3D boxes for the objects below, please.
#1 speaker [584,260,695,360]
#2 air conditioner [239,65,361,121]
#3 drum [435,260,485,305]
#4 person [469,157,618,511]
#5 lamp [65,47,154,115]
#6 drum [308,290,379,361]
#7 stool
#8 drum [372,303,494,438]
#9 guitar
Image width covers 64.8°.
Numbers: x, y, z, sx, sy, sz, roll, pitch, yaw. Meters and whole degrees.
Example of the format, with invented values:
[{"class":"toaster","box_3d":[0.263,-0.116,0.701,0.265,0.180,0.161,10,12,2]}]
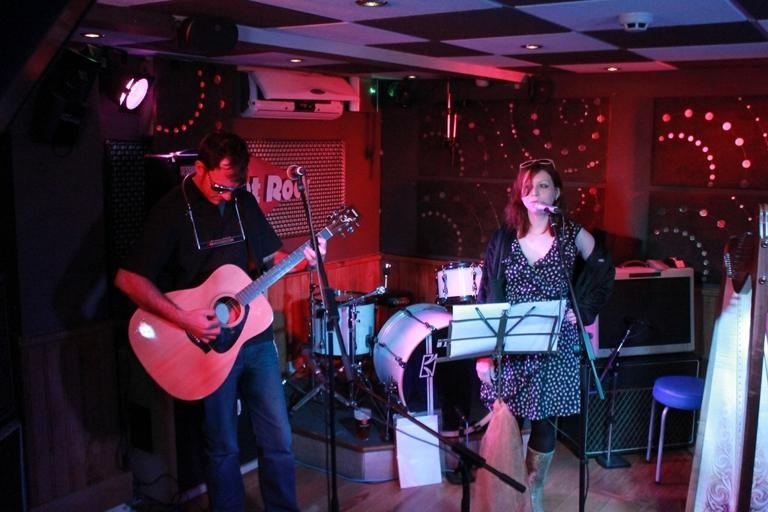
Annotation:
[{"class":"speaker","box_3d":[2.112,0.544,4.669,0.871,0.842,0.491,-14,-44,38]},{"class":"air conditioner","box_3d":[-0.725,-1.461,5.144,0.368,0.424,1.169,20,23,33]},{"class":"drum","box_3d":[0.688,0.186,5.054,0.396,0.326,0.416,-2,6,0]},{"class":"person","box_3d":[0.923,0.499,3.469,0.762,2.194,0.510,1,5,7]},{"class":"lamp","box_3d":[-1.638,-1.118,3.709,0.407,0.271,0.368,25,15,30]},{"class":"drum","box_3d":[-0.281,0.539,4.672,0.576,0.585,0.546,-1,6,-15]},{"class":"stool","box_3d":[2.102,1.272,4.344,0.425,0.672,0.419,6,5,31]},{"class":"drum","box_3d":[0.247,0.730,4.648,1.121,1.222,0.811,-2,10,-11]},{"class":"guitar","box_3d":[-0.685,0.136,3.348,1.517,0.642,0.230,-43,11,-13]}]
